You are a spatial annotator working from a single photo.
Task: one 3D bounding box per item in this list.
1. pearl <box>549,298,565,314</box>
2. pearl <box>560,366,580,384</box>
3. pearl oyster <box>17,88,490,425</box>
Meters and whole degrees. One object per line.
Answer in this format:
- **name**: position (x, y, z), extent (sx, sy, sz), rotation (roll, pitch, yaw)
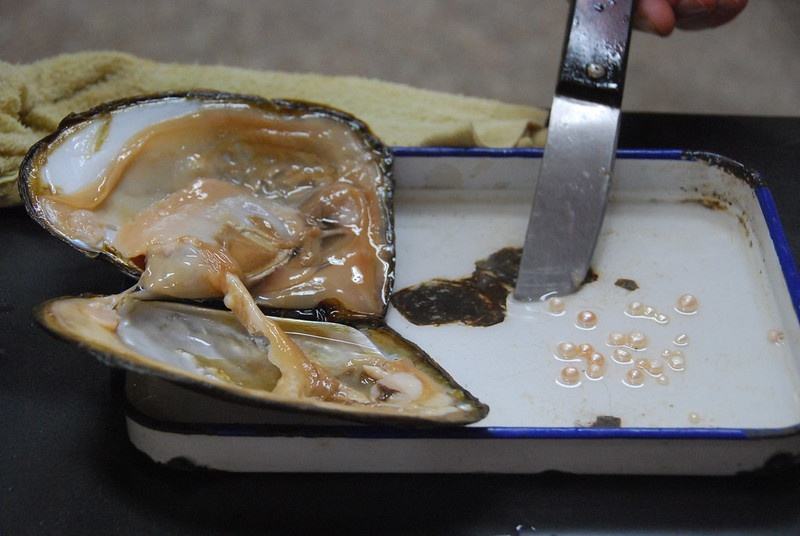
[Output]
- **pearl**: position (0.226, 0.056, 1.393), extent (0.023, 0.007, 0.025), rotation (2, 61, 4)
- **pearl**: position (0.233, 0.149, 1.321), extent (0.029, 0.012, 0.022), rotation (-2, 61, 2)
- **pearl oyster**: position (-0.217, -0.003, 1.316), extent (0.512, 0.169, 0.602), rotation (-17, 62, -7)
